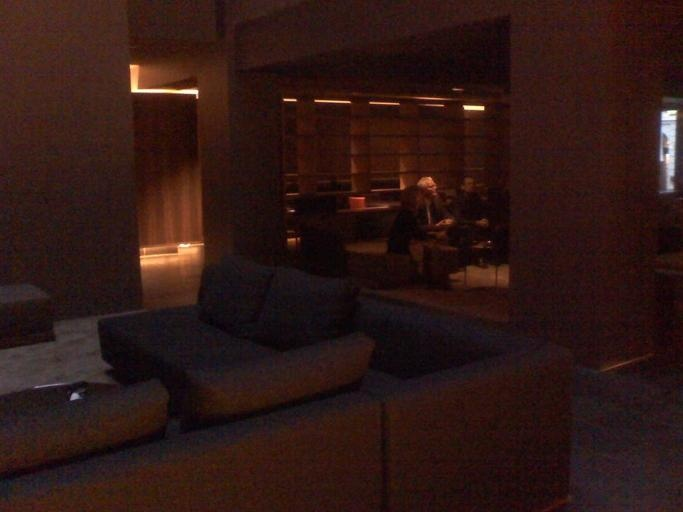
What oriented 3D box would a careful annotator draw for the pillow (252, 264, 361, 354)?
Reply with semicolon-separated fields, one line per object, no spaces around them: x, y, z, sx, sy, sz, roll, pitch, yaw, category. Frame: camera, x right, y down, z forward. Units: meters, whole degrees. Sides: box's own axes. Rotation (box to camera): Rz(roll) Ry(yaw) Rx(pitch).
-0.290;0.329;3.541;0.724;0.488;0.264;6;0;22;pillow

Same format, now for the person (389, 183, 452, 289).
1.152;-0.364;7.672;0.792;1.336;0.846;11;21;43;person

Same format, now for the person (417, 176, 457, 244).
1.234;-0.666;7.952;0.544;0.750;0.558;-8;19;-22;person
